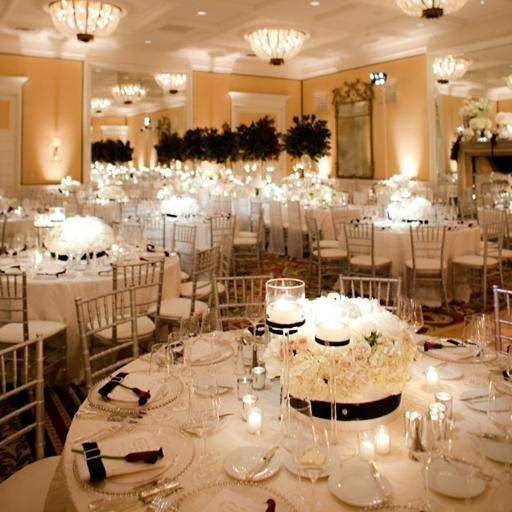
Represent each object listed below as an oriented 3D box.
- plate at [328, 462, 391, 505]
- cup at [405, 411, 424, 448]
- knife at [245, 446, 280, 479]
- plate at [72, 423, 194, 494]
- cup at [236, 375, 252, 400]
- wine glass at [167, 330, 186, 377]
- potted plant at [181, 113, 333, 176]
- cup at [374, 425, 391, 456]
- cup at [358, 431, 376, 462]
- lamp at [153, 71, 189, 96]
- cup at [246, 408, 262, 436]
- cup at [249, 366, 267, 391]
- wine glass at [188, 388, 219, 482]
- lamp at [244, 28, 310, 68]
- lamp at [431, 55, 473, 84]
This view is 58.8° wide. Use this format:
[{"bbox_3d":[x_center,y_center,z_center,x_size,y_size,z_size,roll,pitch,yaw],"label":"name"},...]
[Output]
[{"bbox_3d":[0.282,0.617,1.235,0.165,0.039,0.168,1,11,13],"label":"plate"},{"bbox_3d":[0.393,0.435,1.138,0.046,0.091,0.047,-8,7,1],"label":"cup"},{"bbox_3d":[0.018,0.607,1.336,0.028,0.014,0.221,14,6,15],"label":"knife"},{"bbox_3d":[-0.388,0.625,1.378,0.308,0.093,0.323,-3,7,23],"label":"plate"},{"bbox_3d":[-0.046,0.511,1.770,0.061,0.094,0.072,1,0,3],"label":"cup"},{"bbox_3d":[-0.355,0.452,2.067,0.092,0.201,0.108,-12,-24,14],"label":"wine glass"},{"bbox_3d":[-0.041,-2.713,10.657,2.986,1.643,1.558,-2,23,4],"label":"potted plant"},{"bbox_3d":[0.385,0.566,1.392,0.051,0.109,0.060,-1,-2,1],"label":"cup"},{"bbox_3d":[0.326,0.574,1.357,0.036,0.078,0.068,-1,3,4],"label":"cup"},{"bbox_3d":[-2.488,-5.186,13.534,0.823,0.892,0.959,-3,14,-9],"label":"lamp"},{"bbox_3d":[-0.010,0.575,1.573,0.054,0.082,0.063,0,0,-4],"label":"cup"},{"bbox_3d":[0.011,0.501,1.857,0.067,0.095,0.069,0,0,0],"label":"cup"},{"bbox_3d":[-0.160,0.541,1.429,0.085,0.256,0.085,-4,17,-15],"label":"wine glass"},{"bbox_3d":[0.430,-4.488,9.798,1.206,0.765,0.631,-1,10,1],"label":"lamp"},{"bbox_3d":[4.526,-4.334,10.545,0.750,0.507,0.406,5,12,32],"label":"lamp"}]
